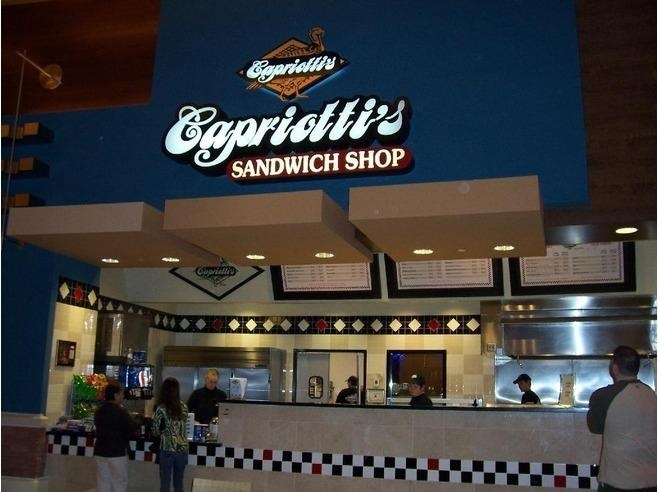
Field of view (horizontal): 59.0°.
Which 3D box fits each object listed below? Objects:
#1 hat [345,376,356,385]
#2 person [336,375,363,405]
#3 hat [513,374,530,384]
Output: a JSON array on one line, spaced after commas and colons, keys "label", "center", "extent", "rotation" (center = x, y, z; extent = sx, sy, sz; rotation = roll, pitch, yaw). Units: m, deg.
[{"label": "hat", "center": [0.367, 2.206, 9.553], "extent": [0.110, 0.133, 0.127], "rotation": [5, -5, -6]}, {"label": "person", "center": [0.301, 2.290, 9.274], "extent": [0.357, 0.430, 0.899], "rotation": [-1, -12, 3]}, {"label": "hat", "center": [2.715, 1.859, 8.260], "extent": [0.246, 0.152, 0.177], "rotation": [3, -13, 23]}]
